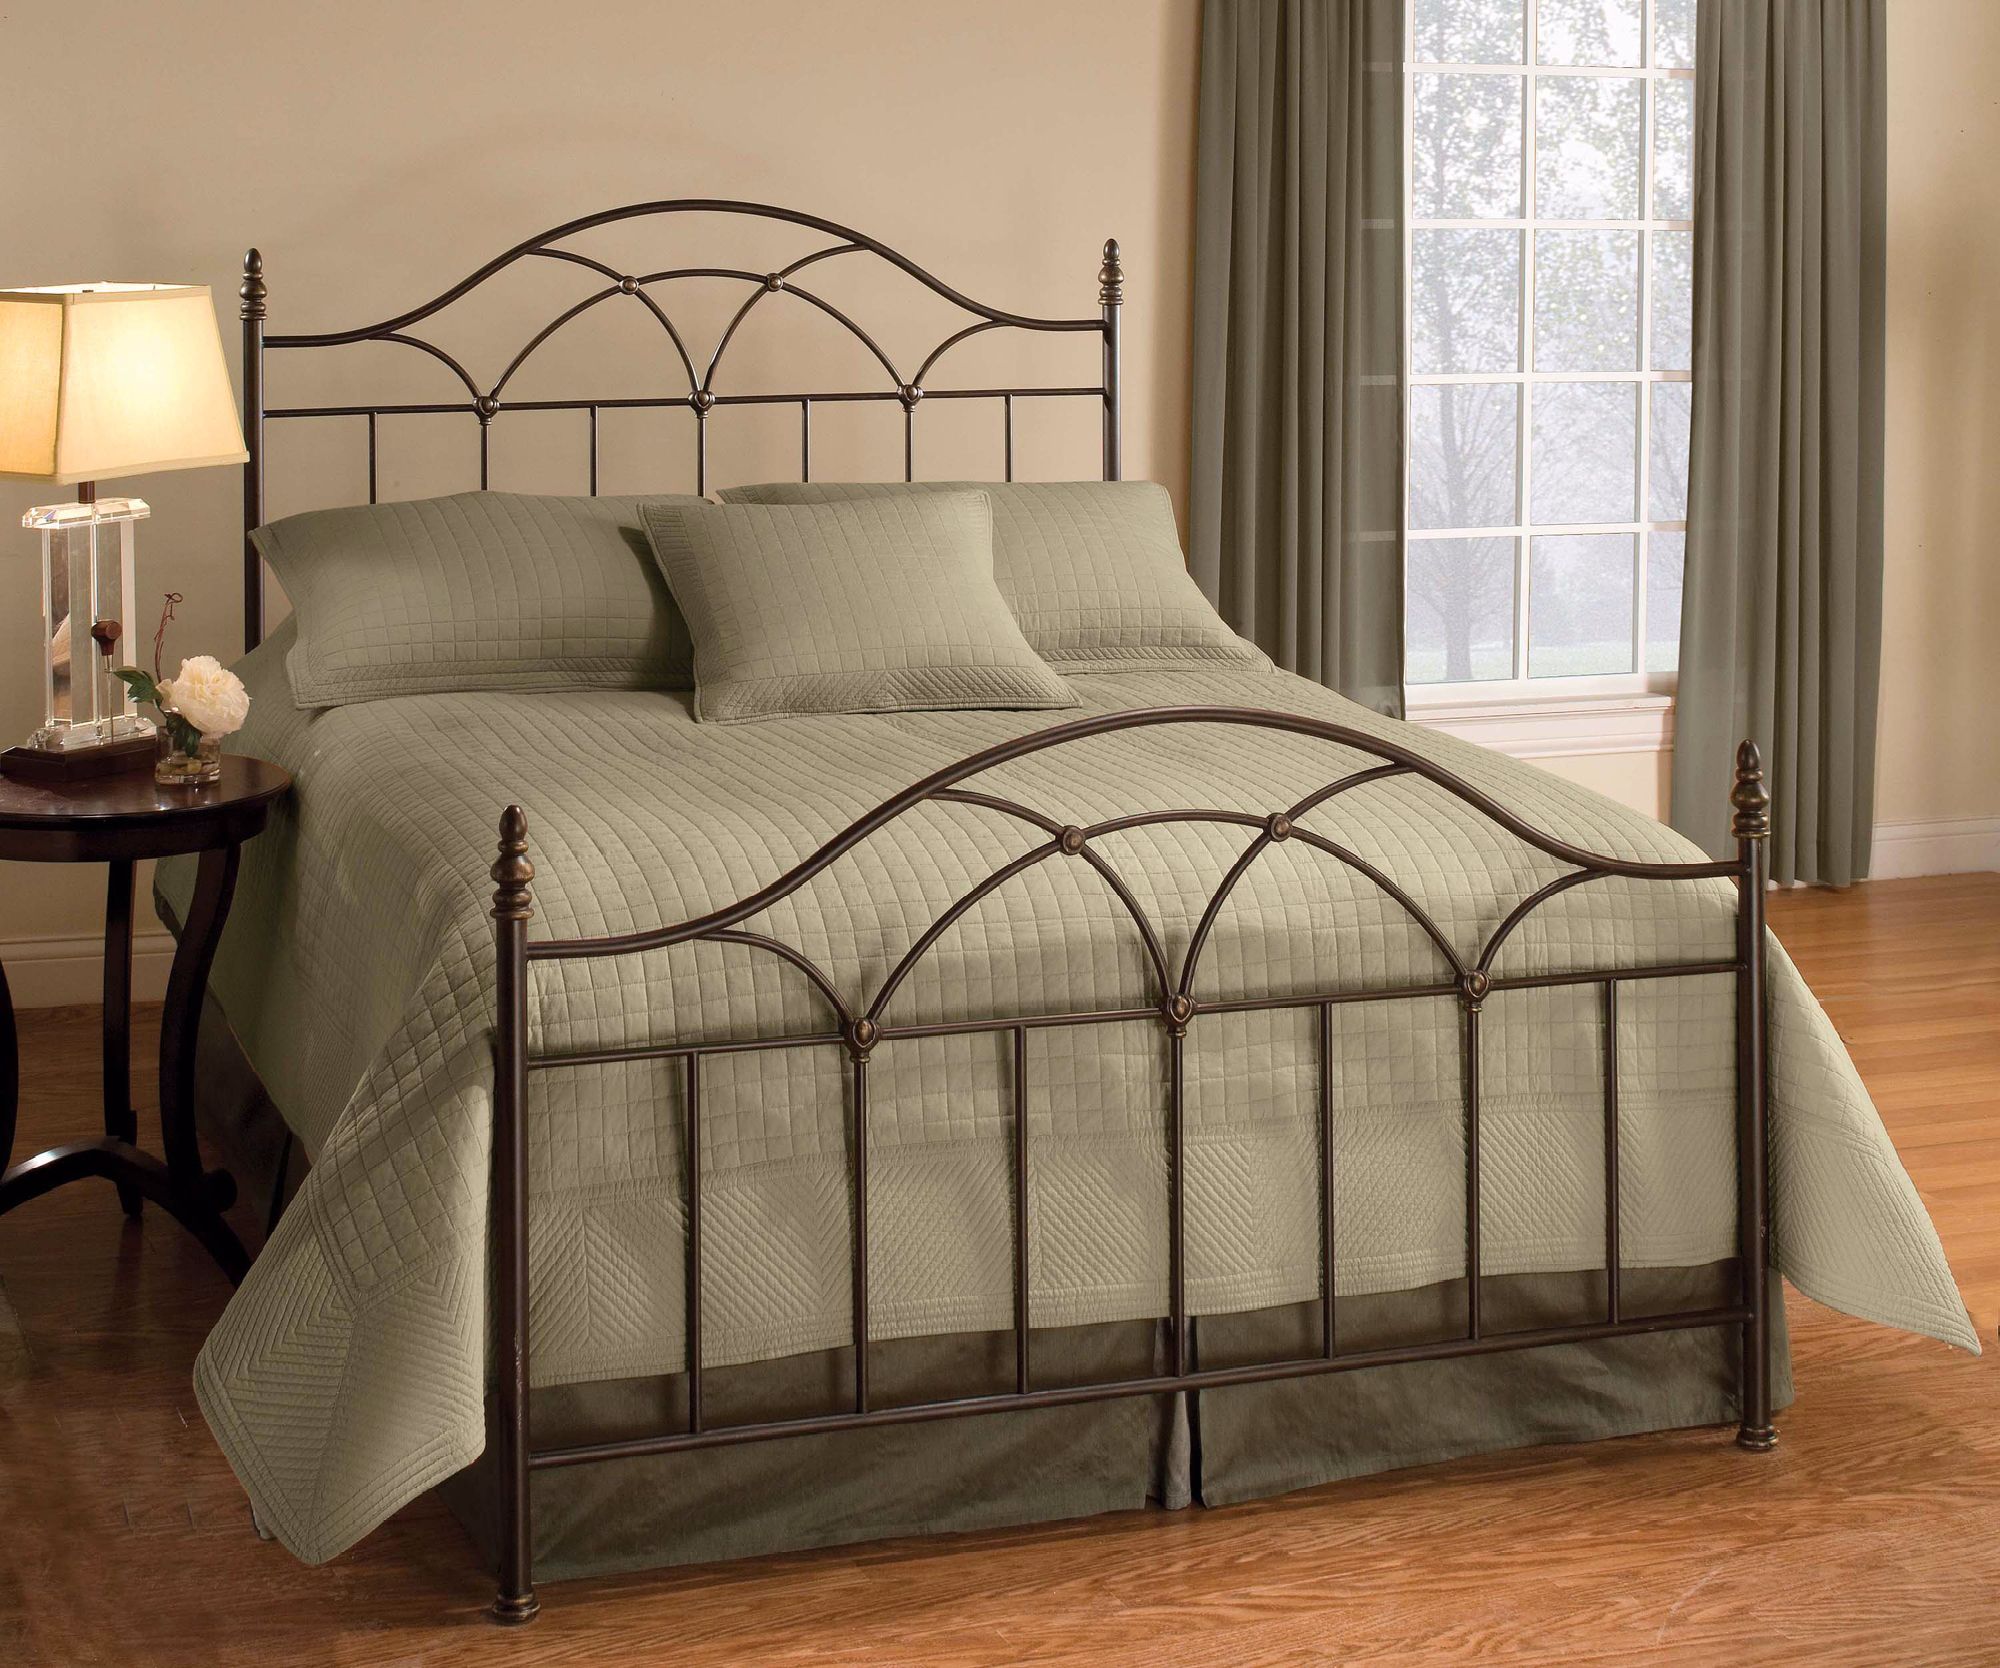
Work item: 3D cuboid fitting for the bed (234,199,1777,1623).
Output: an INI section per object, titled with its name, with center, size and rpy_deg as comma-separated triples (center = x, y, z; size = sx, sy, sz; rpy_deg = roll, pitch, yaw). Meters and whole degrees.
[bed]
center = -0.197, -0.128, 2.959
size = 1.848, 1.073, 1.875
rpy_deg = -4, 21, -22
